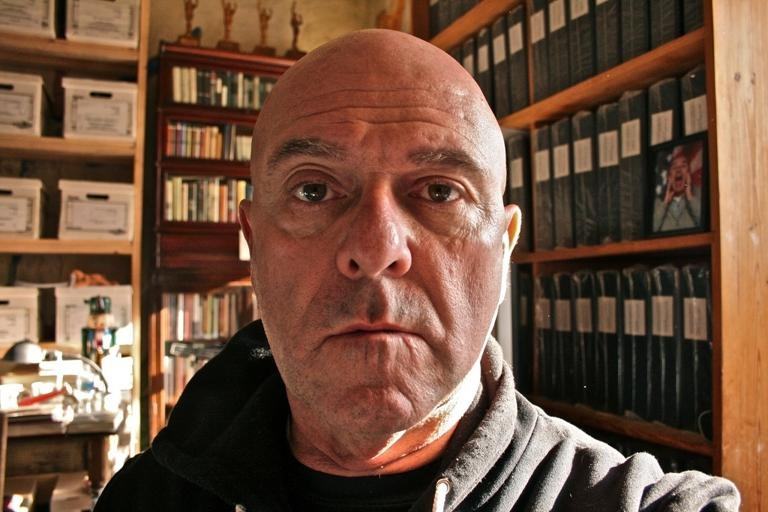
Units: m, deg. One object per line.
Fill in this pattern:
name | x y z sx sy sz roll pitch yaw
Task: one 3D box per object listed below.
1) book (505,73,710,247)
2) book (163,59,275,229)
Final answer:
book | 1.050 -0.435 3.317 0.251 0.729 0.718 4 -8 -39
book | -0.968 -0.617 4.061 0.916 0.970 0.310 1 -2 -23
